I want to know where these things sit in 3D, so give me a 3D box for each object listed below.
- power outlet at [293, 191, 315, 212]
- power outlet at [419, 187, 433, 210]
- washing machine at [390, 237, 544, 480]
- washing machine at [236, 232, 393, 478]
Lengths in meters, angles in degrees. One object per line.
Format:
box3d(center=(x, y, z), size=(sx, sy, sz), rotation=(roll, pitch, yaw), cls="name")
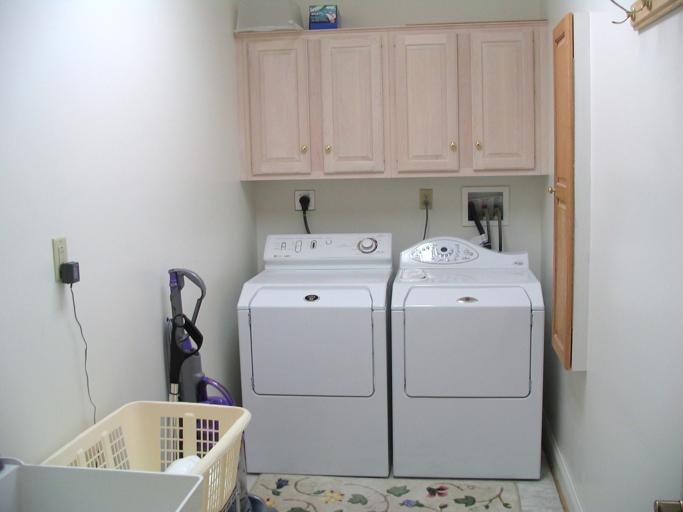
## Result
box3d(center=(-0.237, -0.346, 3.392), size=(0.133, 0.132, 0.044), rotation=(-4, 8, -6), cls="power outlet")
box3d(center=(0.512, -0.357, 3.309), size=(0.119, 0.181, 0.018), rotation=(1, 9, 9), cls="power outlet")
box3d(center=(0.666, 0.526, 2.943), size=(0.787, 1.217, 0.741), rotation=(-2, 9, 2), cls="washing machine")
box3d(center=(-0.112, 0.502, 2.992), size=(0.781, 1.210, 0.577), rotation=(-2, 7, 6), cls="washing machine")
